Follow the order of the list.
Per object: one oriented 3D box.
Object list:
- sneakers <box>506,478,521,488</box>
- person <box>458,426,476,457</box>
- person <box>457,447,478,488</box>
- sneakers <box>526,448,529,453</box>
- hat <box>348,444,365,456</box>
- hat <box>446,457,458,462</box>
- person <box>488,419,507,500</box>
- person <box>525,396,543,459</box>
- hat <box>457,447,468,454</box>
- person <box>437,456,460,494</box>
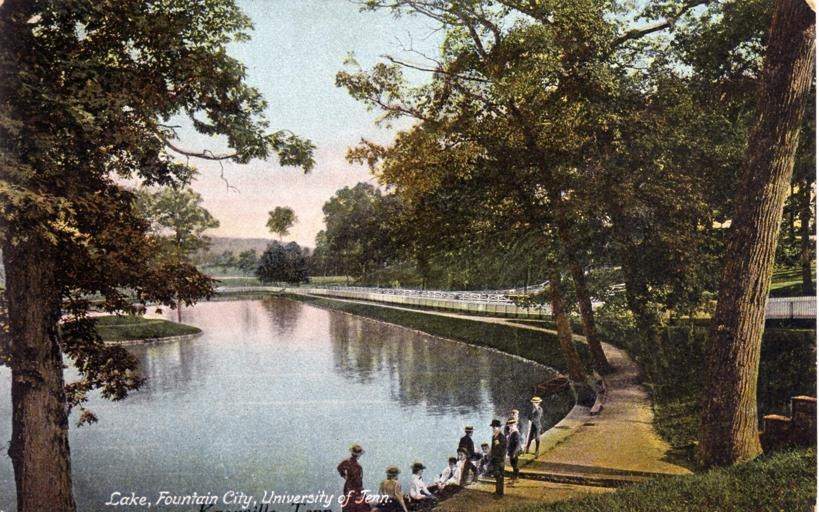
[{"bbox_3d":[2.352,5.145,19.980,0.201,0.154,0.245,8,-13,-11],"label":"sneakers"},{"bbox_3d":[1.313,4.258,20.215,0.387,0.710,0.500,0,4,3],"label":"person"},{"bbox_3d":[1.346,4.840,20.226,0.306,0.814,0.639,4,2,-5],"label":"person"},{"bbox_3d":[2.809,4.605,20.812,0.114,0.105,0.061,-2,-9,3],"label":"sneakers"},{"bbox_3d":[-1.137,4.248,19.091,0.317,0.081,0.307,-1,8,-9],"label":"hat"},{"bbox_3d":[1.003,4.683,20.251,0.267,0.072,0.272,-9,-13,7],"label":"hat"},{"bbox_3d":[2.018,4.550,19.861,0.361,1.674,0.557,1,5,6],"label":"person"},{"bbox_3d":[2.993,4.011,21.043,0.377,1.275,1.105,1,4,8],"label":"person"},{"bbox_3d":[1.234,4.423,20.013,0.219,0.152,0.062,0,5,2],"label":"hat"},{"bbox_3d":[0.919,4.960,20.124,0.567,0.760,0.316,-1,5,-14],"label":"person"}]
